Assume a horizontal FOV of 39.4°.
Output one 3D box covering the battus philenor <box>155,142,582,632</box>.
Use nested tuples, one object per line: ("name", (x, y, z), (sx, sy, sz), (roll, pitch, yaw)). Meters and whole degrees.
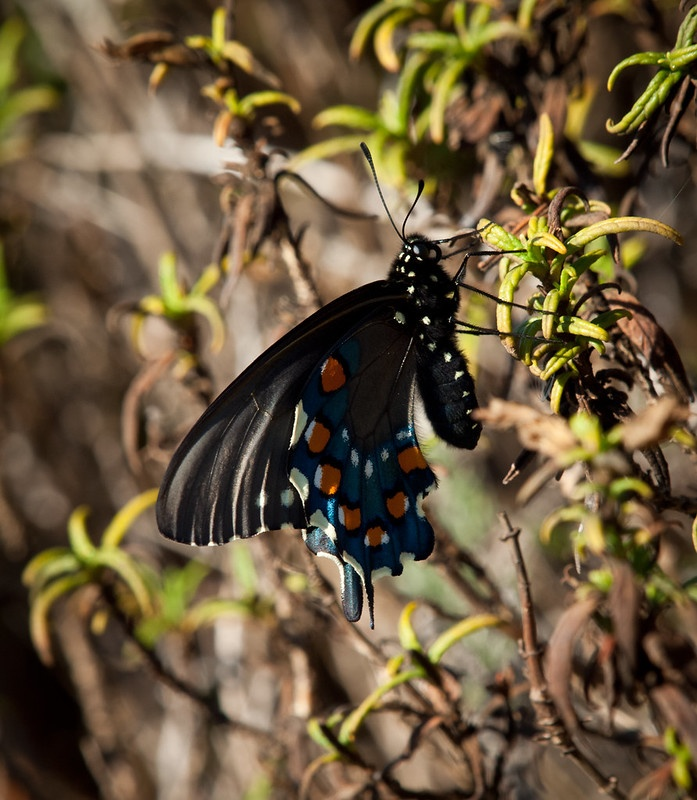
("battus philenor", (0.027, 0.028, 1.192), (0.309, 0.183, 0.460), (32, 77, 6))
